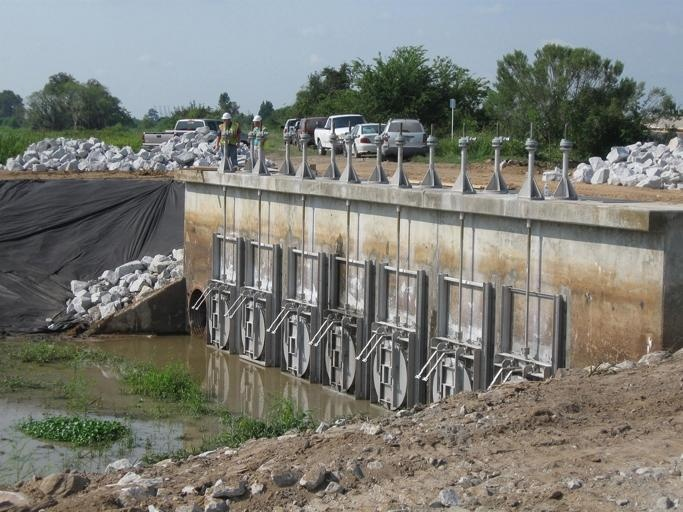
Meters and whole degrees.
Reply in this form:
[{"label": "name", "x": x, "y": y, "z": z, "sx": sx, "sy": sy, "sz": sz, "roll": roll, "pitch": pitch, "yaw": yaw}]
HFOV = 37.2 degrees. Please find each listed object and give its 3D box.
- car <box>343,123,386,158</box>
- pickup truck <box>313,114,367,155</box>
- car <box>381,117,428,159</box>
[{"label": "car", "x": 0.895, "y": -4.221, "z": 36.739, "sx": 0.880, "sy": 1.012, "sz": 2.553, "roll": -2, "pitch": 10, "yaw": -6}, {"label": "pickup truck", "x": -0.176, "y": -5.136, "z": 40.890, "sx": 1.411, "sy": 1.820, "sz": 3.548, "roll": -2, "pitch": 4, "yaw": -17}, {"label": "car", "x": 2.228, "y": -4.073, "z": 35.161, "sx": 1.360, "sy": 1.680, "sz": 2.932, "roll": 0, "pitch": 19, "yaw": -1}]
